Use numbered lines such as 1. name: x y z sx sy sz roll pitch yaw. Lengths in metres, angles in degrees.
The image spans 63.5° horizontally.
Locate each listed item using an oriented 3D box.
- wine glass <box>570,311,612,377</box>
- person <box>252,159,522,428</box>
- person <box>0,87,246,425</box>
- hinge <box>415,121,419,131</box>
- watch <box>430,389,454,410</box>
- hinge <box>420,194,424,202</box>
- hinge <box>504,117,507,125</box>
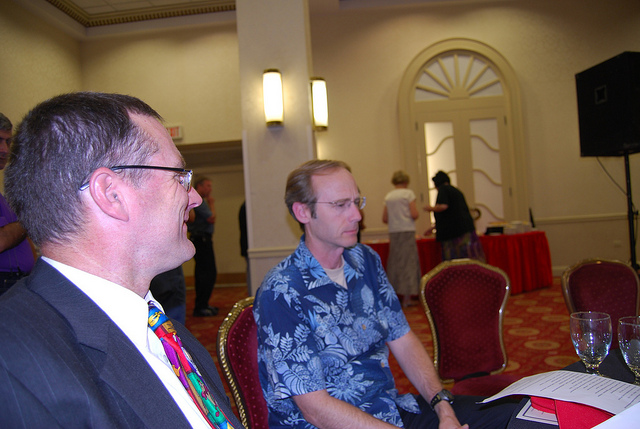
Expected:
1. wine glass: 1.192 0.580 2.287 0.159 0.248 0.095 -2 2 11
2. person: 0.264 0.497 2.972 1.299 1.840 1.011 -11 -7 33
3. person: -0.709 0.167 1.814 0.691 1.021 0.391 -3 2 -14
4. hinge: 1.417 -1.308 7.632 0.055 0.142 0.028 -2 2 9
5. watch: 0.566 0.881 2.440 0.065 0.042 0.067 -49 -27 14
6. hinge: 1.484 -0.242 7.554 0.067 0.141 0.029 -3 -1 -10
7. hinge: 2.714 -1.374 7.614 0.036 0.096 0.013 -2 2 22
